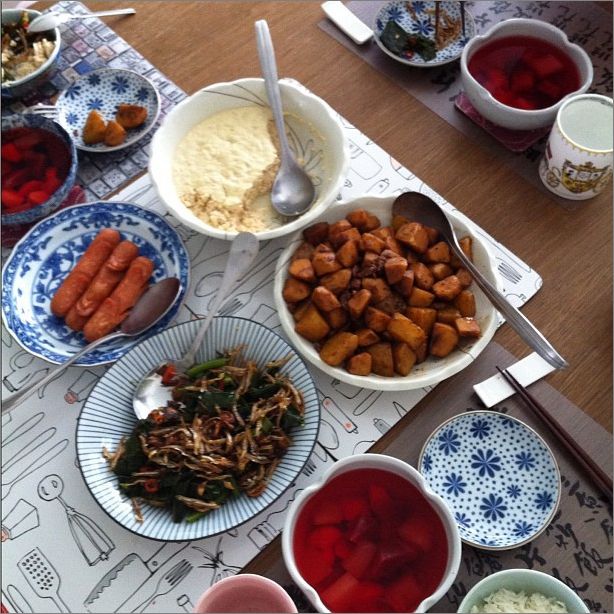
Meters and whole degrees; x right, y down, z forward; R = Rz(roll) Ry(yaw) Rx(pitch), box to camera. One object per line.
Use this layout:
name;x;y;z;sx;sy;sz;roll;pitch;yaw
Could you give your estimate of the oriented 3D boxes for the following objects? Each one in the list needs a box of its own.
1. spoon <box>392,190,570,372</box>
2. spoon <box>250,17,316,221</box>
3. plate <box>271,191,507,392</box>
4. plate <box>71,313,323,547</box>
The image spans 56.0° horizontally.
spoon;0.448;-0.051;1.502;0.673;0.095;0.123;45;117;18
spoon;-0.074;-0.547;1.700;0.162;0.090;0.570;-11;81;4
plate;0.201;-0.033;1.493;0.568;0.225;0.525;21;64;13
plate;-0.245;0.271;1.349;0.556;0.117;0.502;-14;61;-5
